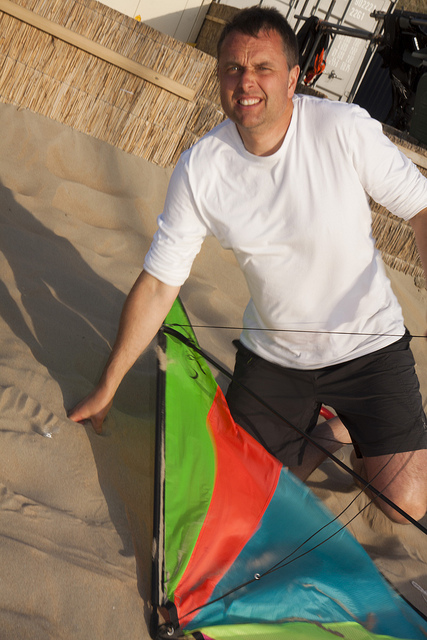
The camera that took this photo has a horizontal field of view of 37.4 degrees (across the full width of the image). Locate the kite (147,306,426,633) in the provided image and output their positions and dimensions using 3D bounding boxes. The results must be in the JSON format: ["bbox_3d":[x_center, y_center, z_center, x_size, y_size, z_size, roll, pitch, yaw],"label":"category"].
[{"bbox_3d":[0.059,0.313,1.329,0.651,0.337,0.628,1,18,6],"label":"kite"}]
